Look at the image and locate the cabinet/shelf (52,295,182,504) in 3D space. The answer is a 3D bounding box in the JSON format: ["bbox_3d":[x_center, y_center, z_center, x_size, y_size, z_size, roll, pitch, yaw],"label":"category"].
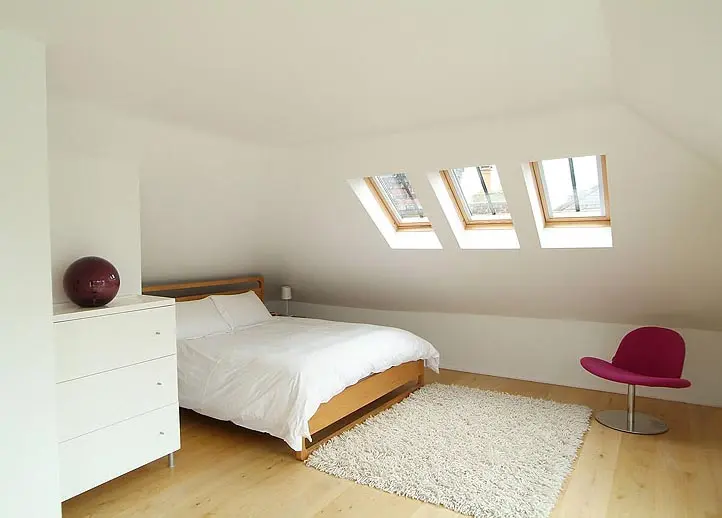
[{"bbox_3d":[-1.490,0.989,3.229,1.489,1.280,0.585,-18,-18,26],"label":"cabinet/shelf"}]

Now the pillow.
[{"bbox_3d":[-1.550,0.618,4.928,0.183,0.396,0.925,-14,-8,40],"label":"pillow"}]

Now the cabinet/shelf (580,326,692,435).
[{"bbox_3d":[2.509,0.985,4.102,0.939,0.927,1.003,-4,2,-42],"label":"cabinet/shelf"}]
